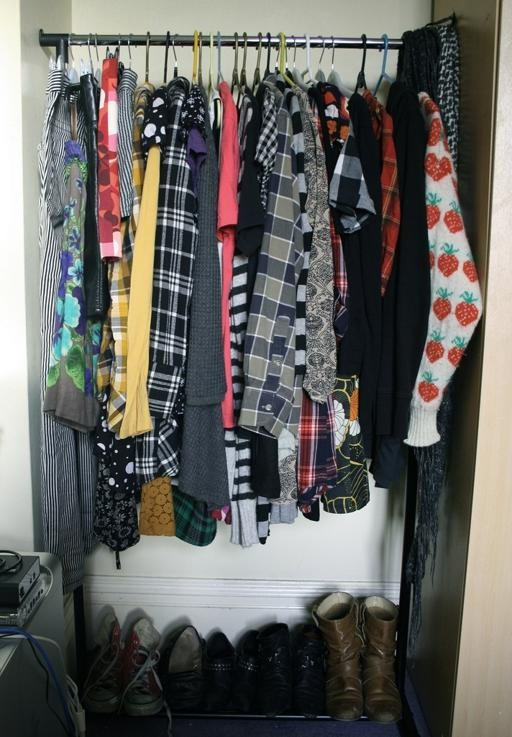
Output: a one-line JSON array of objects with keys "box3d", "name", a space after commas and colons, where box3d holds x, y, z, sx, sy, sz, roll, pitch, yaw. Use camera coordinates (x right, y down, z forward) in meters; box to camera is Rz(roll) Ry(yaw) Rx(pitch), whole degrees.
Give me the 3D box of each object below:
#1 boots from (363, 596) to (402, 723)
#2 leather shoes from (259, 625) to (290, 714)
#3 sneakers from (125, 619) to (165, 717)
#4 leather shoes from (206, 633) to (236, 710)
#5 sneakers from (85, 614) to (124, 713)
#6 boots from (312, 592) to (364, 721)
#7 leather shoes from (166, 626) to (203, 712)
[{"box3d": [0.321, 0.744, 1.672, 0.084, 0.219, 0.277, 2, 10, 1], "name": "boots"}, {"box3d": [0.042, 0.778, 1.697, 0.086, 0.140, 0.311, -4, 2, 2], "name": "leather shoes"}, {"box3d": [-0.286, 0.772, 1.692, 0.067, 0.097, 0.226, 1, 23, -10], "name": "sneakers"}, {"box3d": [-0.097, 0.805, 1.734, 0.074, 0.100, 0.202, 1, 8, -4], "name": "leather shoes"}, {"box3d": [-0.393, 0.764, 1.706, 0.065, 0.095, 0.229, 2, 33, -5], "name": "sneakers"}, {"box3d": [0.217, 0.734, 1.678, 0.087, 0.214, 0.280, -8, 15, 10], "name": "boots"}, {"box3d": [-0.182, 0.790, 1.717, 0.057, 0.076, 0.191, 3, 39, -8], "name": "leather shoes"}]
